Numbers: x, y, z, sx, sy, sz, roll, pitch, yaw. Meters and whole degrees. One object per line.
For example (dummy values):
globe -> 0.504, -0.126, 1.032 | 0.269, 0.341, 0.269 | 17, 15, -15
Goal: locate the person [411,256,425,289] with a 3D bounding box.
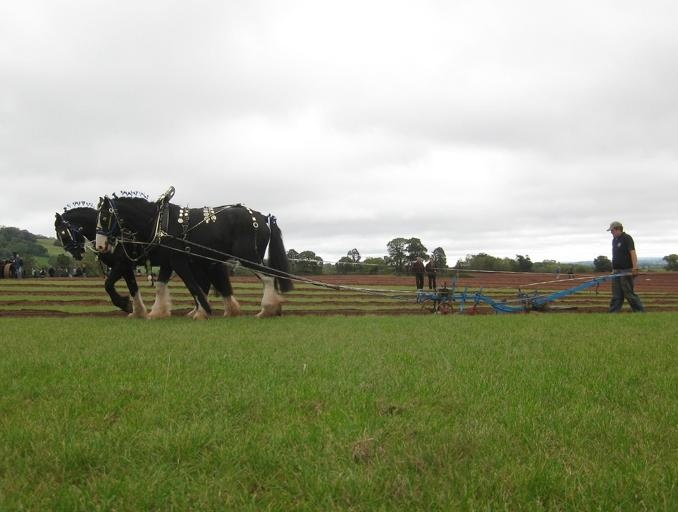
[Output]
person -> 2.903, 0.646, 24.114 | 0.422, 1.144, 1.672 | -3, -2, 7

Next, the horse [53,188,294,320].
horse -> -3.523, -0.017, 15.876 | 4.321, 3.179, 1.594 | -2, -2, -11

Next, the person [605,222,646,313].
person -> 7.375, 0.310, 17.166 | 0.750, 1.803, 1.147 | -4, -2, 23
